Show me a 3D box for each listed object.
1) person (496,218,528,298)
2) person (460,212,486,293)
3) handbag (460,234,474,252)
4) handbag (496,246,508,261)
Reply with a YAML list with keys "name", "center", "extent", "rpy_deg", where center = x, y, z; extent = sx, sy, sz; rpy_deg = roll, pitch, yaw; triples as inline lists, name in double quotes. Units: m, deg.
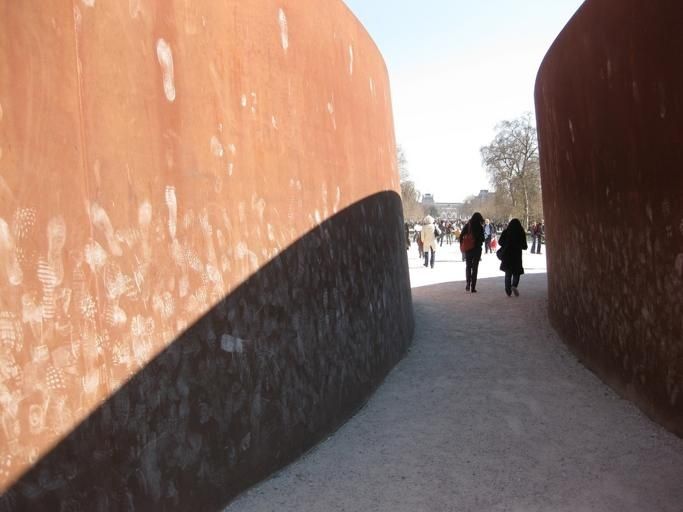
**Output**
- name: "person"
  center: [3.044, 0.010, 9.495]
  extent: [0.459, 1.419, 1.224]
  rpy_deg: [0, 9, 19]
- name: "person"
  center: [2.571, -0.131, 10.472]
  extent: [0.441, 1.697, 2.530]
  rpy_deg: [-1, 9, 14]
- name: "handbag"
  center: [2.248, -0.223, 9.526]
  extent: [0.263, 0.325, 0.197]
  rpy_deg: [4, 11, 42]
- name: "handbag"
  center: [2.722, -0.050, 9.067]
  extent: [0.040, 0.216, 0.182]
  rpy_deg: [9, -9, -14]
